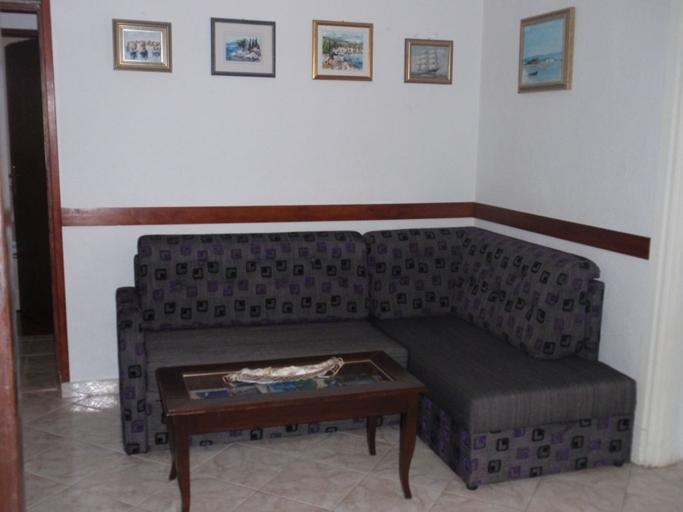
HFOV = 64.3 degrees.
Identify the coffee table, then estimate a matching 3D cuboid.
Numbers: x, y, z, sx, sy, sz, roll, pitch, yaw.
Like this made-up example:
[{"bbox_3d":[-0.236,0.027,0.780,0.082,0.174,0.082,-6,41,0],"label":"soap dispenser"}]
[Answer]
[{"bbox_3d":[-0.271,0.914,2.836,1.264,0.628,0.643,-4,14,-20],"label":"coffee table"}]
